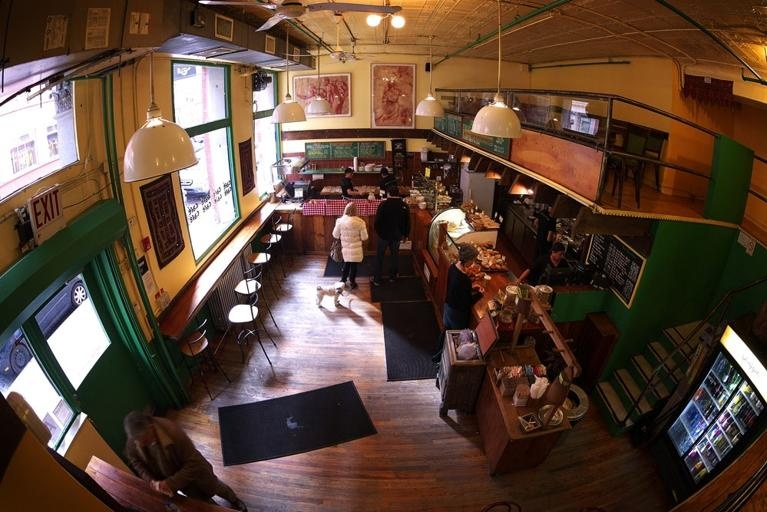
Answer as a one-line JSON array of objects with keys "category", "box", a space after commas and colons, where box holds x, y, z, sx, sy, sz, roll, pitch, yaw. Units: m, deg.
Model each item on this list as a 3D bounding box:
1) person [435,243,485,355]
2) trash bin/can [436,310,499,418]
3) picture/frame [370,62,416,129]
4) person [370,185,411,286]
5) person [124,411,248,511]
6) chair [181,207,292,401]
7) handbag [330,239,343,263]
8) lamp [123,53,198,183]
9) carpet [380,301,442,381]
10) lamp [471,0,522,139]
[{"category": "person", "box": [1.269, 0.842, 7.730, 0.651, 2.106, 0.651, -1, 27, -6]}, {"category": "trash bin/can", "box": [1.239, 1.602, 6.953, 0.675, 1.770, 0.914, 8, 25, -3]}, {"category": "picture/frame", "box": [0.224, -4.218, 12.396, 1.597, 2.196, 0.089, 1, 31, 1]}, {"category": "person", "box": [0.128, -0.547, 10.107, 0.747, 2.093, 0.926, -2, 23, -2]}, {"category": "person", "box": [-2.413, 2.317, 5.432, 0.780, 1.229, 0.517, 8, 25, 20]}, {"category": "chair", "box": [-2.593, 0.895, 8.373, 0.576, 0.897, 3.865, 26, 41, -18]}, {"category": "handbag", "box": [-0.980, -0.095, 10.132, 0.235, 0.548, 0.492, 1, 6, -7]}, {"category": "lamp", "box": [-2.350, -1.186, 4.990, 0.700, 0.708, 0.430, -14, 27, -27]}, {"category": "carpet", "box": [0.490, 1.544, 8.549, 0.776, 0.031, 1.697, 1, 27, -1]}, {"category": "lamp", "box": [1.796, -2.778, 7.498, 0.688, 2.139, 3.322, 3, 25, 11]}]
